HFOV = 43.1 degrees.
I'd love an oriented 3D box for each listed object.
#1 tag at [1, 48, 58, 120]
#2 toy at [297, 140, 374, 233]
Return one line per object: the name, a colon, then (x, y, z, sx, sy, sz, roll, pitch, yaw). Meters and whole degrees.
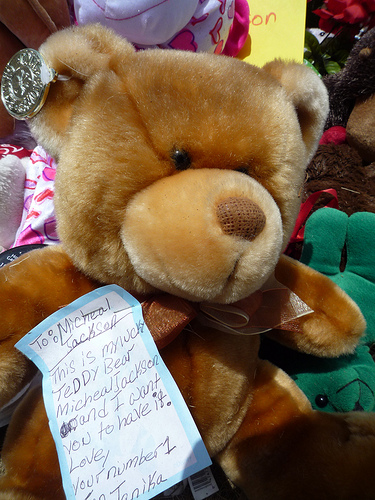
tag: (-0.220, -0.218, 0.642, 0.106, 0.025, 0.077, -36, 74, 27)
toy: (0.301, -0.123, 0.957, 0.156, 0.078, 0.162, 10, 90, 9)
